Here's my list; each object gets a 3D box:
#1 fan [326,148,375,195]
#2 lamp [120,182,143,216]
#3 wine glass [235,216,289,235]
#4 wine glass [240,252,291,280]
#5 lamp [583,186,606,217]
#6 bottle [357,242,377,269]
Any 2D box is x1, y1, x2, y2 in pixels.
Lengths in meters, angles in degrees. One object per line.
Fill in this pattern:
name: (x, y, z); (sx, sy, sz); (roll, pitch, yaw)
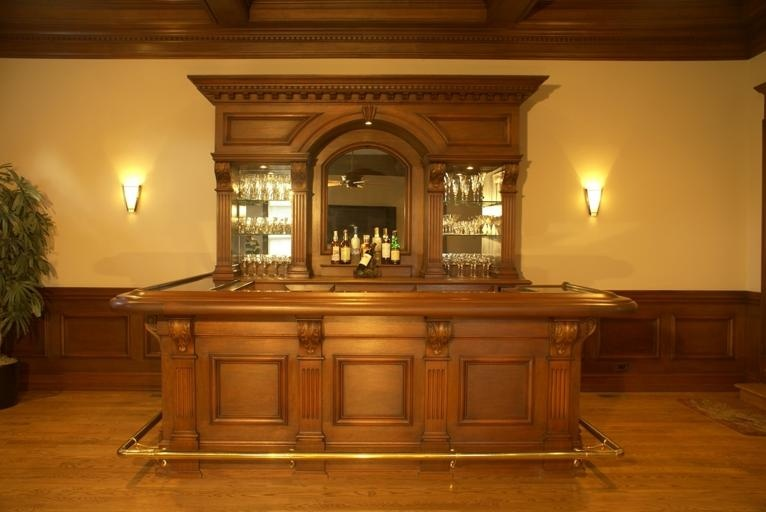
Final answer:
fan: (-0.510, -1.111, 8.080); (0.630, 0.529, 0.555); (0, 4, -9)
lamp: (-3.185, -0.745, 8.031); (0.230, 0.393, 0.073); (0, 3, 2)
wine glass: (-1.506, -0.390, 7.950); (0.663, 0.229, 0.108); (0, 3, -3)
wine glass: (-1.473, 0.127, 7.826); (0.637, 0.285, 0.343); (0, 2, -4)
lamp: (2.686, -0.703, 8.093); (0.185, 0.397, 0.101); (0, 3, -9)
bottle: (-0.188, 0.002, 7.867); (0.156, 0.417, 0.128); (8, 41, -10)
